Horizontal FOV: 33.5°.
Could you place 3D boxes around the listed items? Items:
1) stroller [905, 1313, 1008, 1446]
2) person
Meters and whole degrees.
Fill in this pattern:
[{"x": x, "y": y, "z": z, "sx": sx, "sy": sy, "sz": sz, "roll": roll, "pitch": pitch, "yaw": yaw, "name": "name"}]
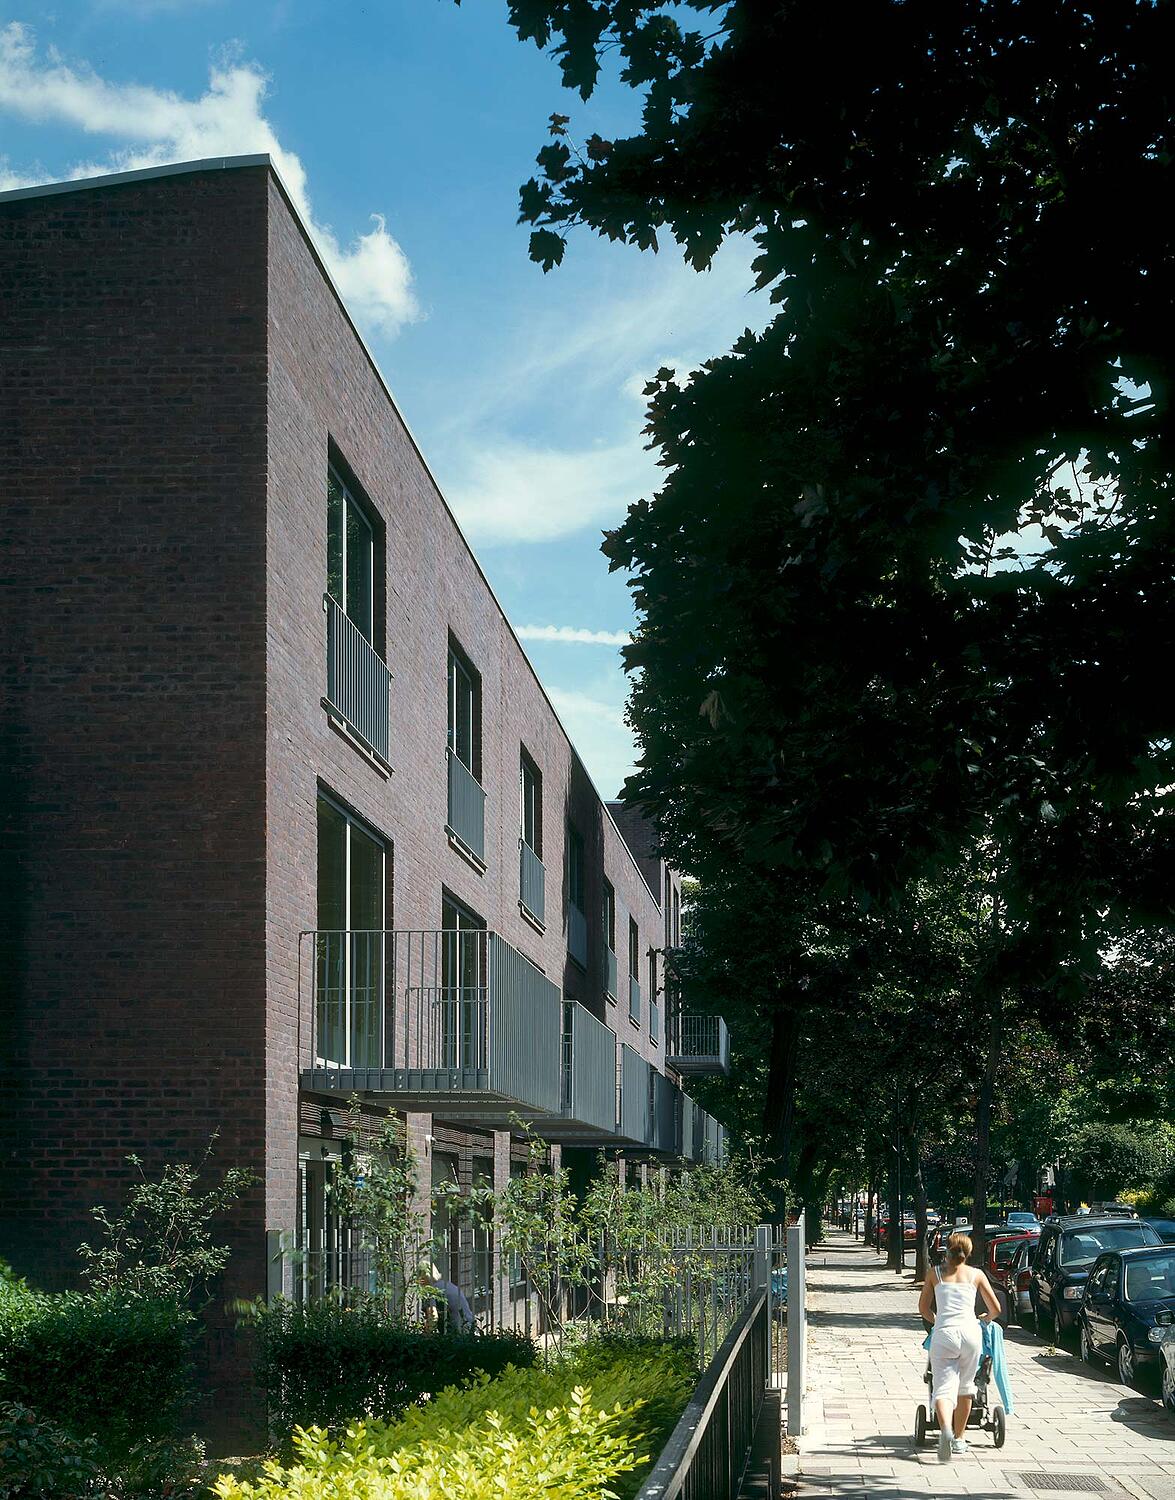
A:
[{"x": 2.668, "y": 4.470, "z": 14.002, "sx": 0.492, "sy": 1.017, "sz": 0.715, "roll": -2, "pitch": -6, "yaw": 9, "name": "stroller"}, {"x": 2.482, "y": 3.967, "z": 13.023, "sx": 0.504, "sy": 1.434, "sz": 1.352, "roll": -2, "pitch": -15, "yaw": 11, "name": "person"}]
